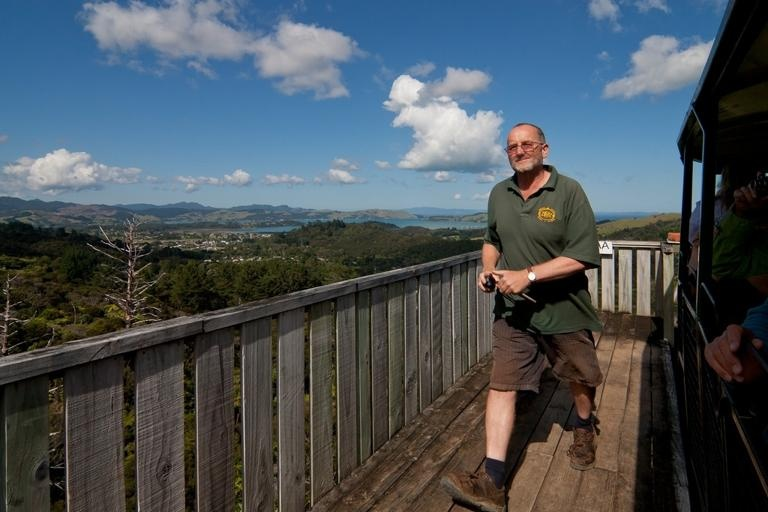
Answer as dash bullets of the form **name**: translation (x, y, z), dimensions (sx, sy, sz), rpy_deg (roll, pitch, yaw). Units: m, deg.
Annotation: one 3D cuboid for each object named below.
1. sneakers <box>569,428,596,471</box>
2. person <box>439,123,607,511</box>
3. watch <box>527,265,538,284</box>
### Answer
- **sneakers**: translation (1.265, 1.226, 2.734), dimensions (0.152, 0.132, 0.348), rpy_deg (-3, 11, 28)
- **person**: translation (0.851, 0.293, 2.567), dimensions (0.940, 2.173, 0.615), rpy_deg (-6, 3, -2)
- **watch**: translation (0.803, 0.101, 2.360), dimensions (0.058, 0.075, 0.079), rpy_deg (-3, -6, 12)
